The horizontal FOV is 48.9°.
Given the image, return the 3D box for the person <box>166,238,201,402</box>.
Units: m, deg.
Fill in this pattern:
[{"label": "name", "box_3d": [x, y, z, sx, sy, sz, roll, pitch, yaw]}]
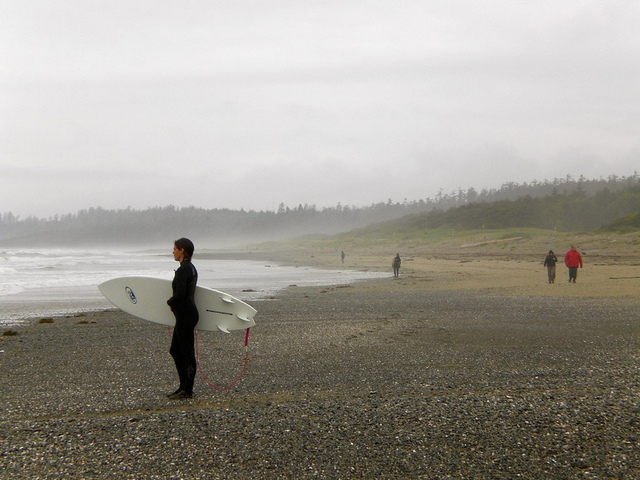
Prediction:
[{"label": "person", "box_3d": [-2.719, 1.564, 13.861, 0.530, 3.063, 0.957, -1, 12, 2]}]
